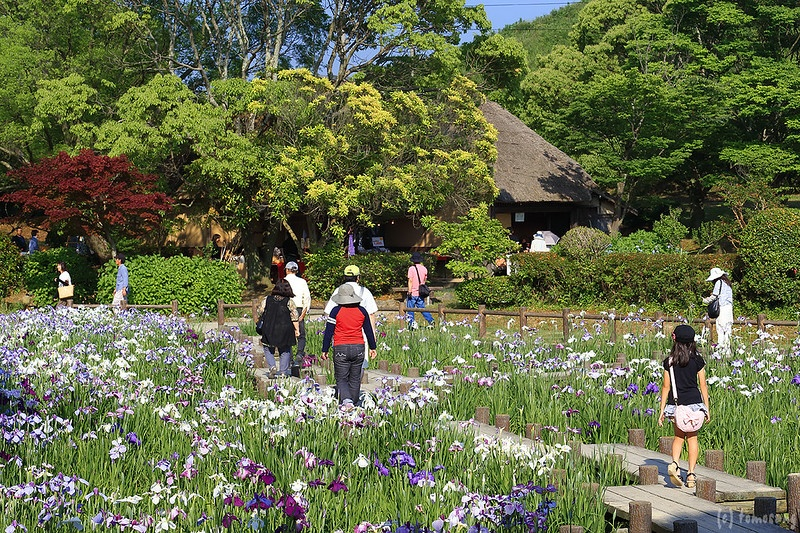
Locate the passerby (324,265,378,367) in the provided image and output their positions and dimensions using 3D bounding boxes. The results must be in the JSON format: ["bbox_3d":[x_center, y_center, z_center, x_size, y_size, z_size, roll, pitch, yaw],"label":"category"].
[{"bbox_3d":[-0.891,1.037,17.321,0.918,2.206,0.659,2,19,11],"label":"passerby"}]

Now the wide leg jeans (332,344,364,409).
[{"bbox_3d":[-0.906,1.907,15.517,0.545,1.057,0.358,0,3,-5],"label":"wide leg jeans"}]

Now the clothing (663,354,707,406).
[{"bbox_3d":[4.477,1.792,13.751,0.743,0.866,0.481,-1,0,14],"label":"clothing"}]

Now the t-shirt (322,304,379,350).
[{"bbox_3d":[-0.903,1.106,15.903,1.004,1.011,0.442,0,10,-3],"label":"t-shirt"}]

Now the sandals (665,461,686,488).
[{"bbox_3d":[4.204,3.185,13.319,0.169,0.452,0.161,-9,22,39],"label":"sandals"}]
